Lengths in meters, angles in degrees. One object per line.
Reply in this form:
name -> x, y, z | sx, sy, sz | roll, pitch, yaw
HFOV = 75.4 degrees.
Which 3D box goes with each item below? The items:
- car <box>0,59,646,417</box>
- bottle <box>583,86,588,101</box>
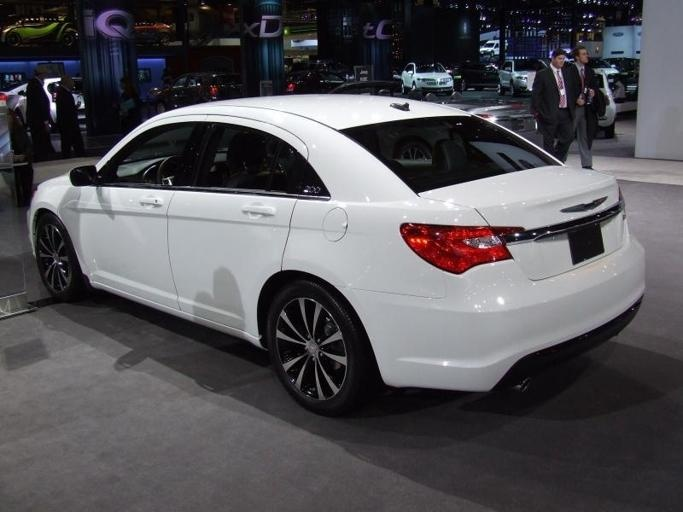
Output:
car -> -0.725, -0.339, 4.155 | 5.946, 2.197, 2.024 | 8, 16, 36
bottle -> 5.611, -3.728, 10.165 | 0.057, 0.197, 0.143 | 5, 25, 19
